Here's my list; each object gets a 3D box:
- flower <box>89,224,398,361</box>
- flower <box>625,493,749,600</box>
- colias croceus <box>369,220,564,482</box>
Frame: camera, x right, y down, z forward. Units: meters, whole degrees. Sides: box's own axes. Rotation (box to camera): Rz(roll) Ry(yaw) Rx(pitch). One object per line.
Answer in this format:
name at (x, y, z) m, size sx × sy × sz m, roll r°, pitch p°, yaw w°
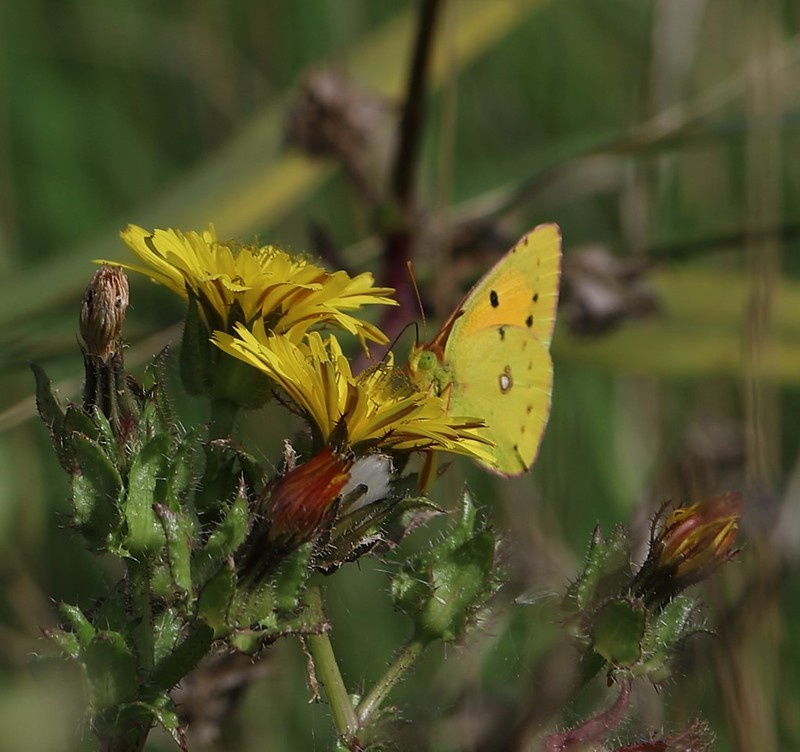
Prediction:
flower at (-0.122, -0.063, 0.971) m, size 0.211 × 0.082 × 0.216 m, roll 14°, pitch -2°, yaw -15°
flower at (0.214, 0.126, 0.973) m, size 0.060 × 0.041 × 0.094 m, roll 44°, pitch -61°, yaw 16°
colias croceus at (0.061, -0.025, 1.132) m, size 0.150 × 0.223 × 0.171 m, roll 12°, pitch -13°, yaw -8°
